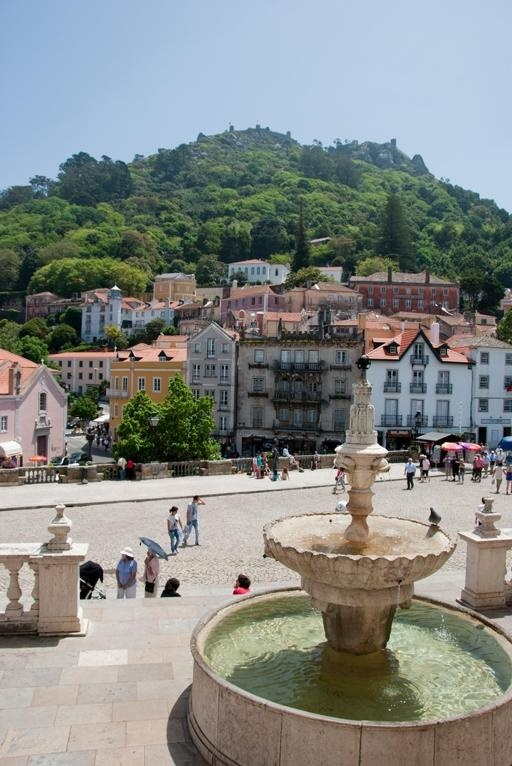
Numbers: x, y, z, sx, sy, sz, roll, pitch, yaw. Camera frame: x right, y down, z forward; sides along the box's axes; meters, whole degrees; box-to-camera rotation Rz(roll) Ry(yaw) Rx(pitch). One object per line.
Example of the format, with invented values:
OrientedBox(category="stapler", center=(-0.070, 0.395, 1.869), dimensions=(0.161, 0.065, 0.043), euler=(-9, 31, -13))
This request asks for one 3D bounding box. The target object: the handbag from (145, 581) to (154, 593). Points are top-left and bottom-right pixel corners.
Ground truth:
OrientedBox(category="handbag", center=(-1.559, 3.029, 13.571), dimensions=(0.164, 0.138, 0.042), euler=(0, -6, 10))

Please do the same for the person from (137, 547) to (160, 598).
OrientedBox(category="person", center=(-1.570, 2.902, 13.681), dimensions=(0.260, 0.555, 0.888), euler=(-5, 2, -8))

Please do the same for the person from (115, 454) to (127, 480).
OrientedBox(category="person", center=(-4.472, 2.904, 30.741), dimensions=(0.361, 0.589, 0.906), euler=(-5, 2, -9))

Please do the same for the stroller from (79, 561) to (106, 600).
OrientedBox(category="stroller", center=(-2.430, 2.917, 13.561), dimensions=(0.422, 0.568, 0.583), euler=(2, 21, -6))
